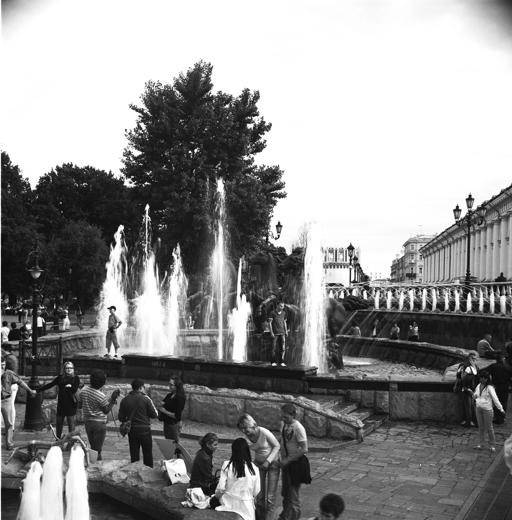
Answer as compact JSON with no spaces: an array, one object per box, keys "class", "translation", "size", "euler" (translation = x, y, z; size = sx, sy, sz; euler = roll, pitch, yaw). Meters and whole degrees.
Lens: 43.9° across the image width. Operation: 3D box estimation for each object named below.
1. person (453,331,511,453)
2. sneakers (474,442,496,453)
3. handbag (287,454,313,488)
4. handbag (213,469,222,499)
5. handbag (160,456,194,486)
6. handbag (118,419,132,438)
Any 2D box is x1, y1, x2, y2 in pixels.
[{"class":"person","translation":[4.716,2.777,13.221],"size":[0.802,2.222,0.623],"euler":[-11,-23,40]},{"class":"sneakers","translation":[3.916,3.238,10.850],"size":[0.324,0.178,0.126],"euler":[11,-5,16]},{"class":"handbag","translation":[0.453,2.346,7.014],"size":[0.315,0.493,0.261],"euler":[2,-17,-13]},{"class":"handbag","translation":[-0.407,2.398,6.777],"size":[0.143,0.255,0.080],"euler":[4,-2,-16]},{"class":"handbag","translation":[-0.964,2.524,7.602],"size":[0.332,0.255,0.485],"euler":[1,-8,-8]},{"class":"handbag","translation":[-1.726,2.219,8.300],"size":[0.152,0.253,0.086],"euler":[-6,22,-26]}]
